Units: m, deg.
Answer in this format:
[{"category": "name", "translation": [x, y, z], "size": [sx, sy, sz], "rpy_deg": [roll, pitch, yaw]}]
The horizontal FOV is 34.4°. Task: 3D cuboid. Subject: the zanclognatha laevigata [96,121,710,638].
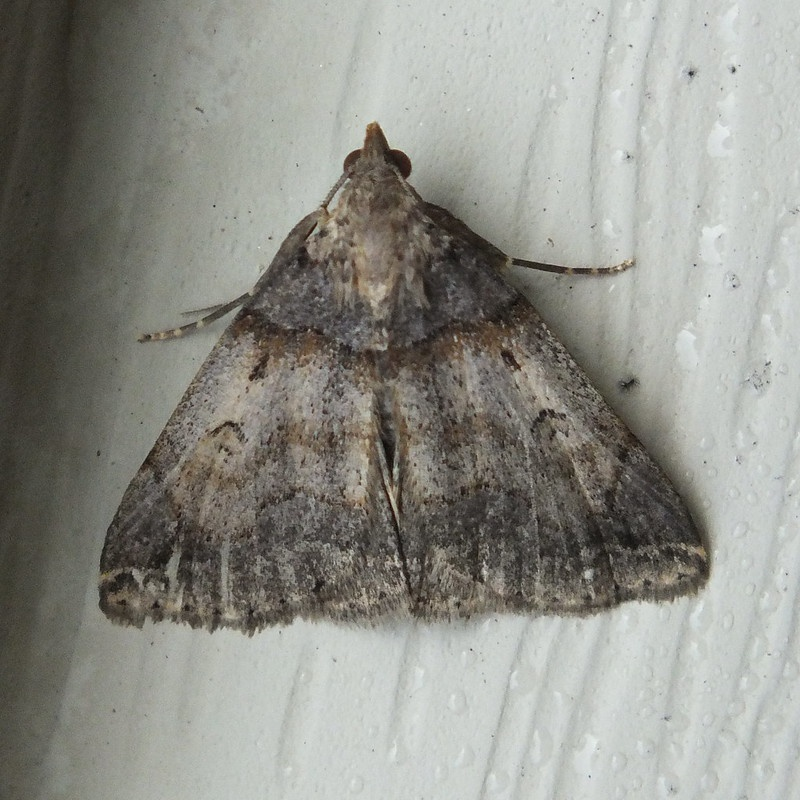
[{"category": "zanclognatha laevigata", "translation": [-0.023, 0.101, 2.806], "size": [1.022, 1.310, 0.336], "rpy_deg": [-2, 1, 6]}]
